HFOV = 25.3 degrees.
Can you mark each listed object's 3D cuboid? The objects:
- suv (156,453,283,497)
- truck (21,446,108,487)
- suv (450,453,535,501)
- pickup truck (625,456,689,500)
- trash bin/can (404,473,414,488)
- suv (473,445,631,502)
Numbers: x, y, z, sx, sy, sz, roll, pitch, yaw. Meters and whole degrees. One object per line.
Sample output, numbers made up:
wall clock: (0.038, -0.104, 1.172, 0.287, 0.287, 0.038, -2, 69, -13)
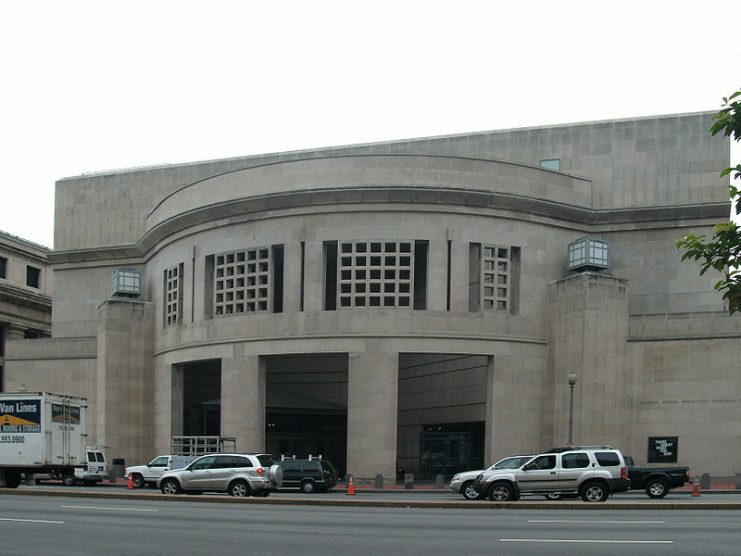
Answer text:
suv: (-7.562, 9.673, 80.867, 5.616, 2.147, 2.446, -1, -5, 16)
truck: (-15.678, 9.825, 87.698, 3.478, 2.173, 3.320, 2, -11, -13)
suv: (5.921, 9.402, 79.176, 2.951, 2.286, 3.142, -4, -4, 43)
pickup truck: (13.863, 9.759, 80.295, 2.900, 1.286, 1.585, 0, -7, 7)
trash bin/can: (1.999, 10.631, 86.815, 0.442, 0.860, 0.651, -1, -14, -6)
suv: (8.705, 9.241, 78.585, 5.971, 2.571, 2.850, 2, -12, 4)
